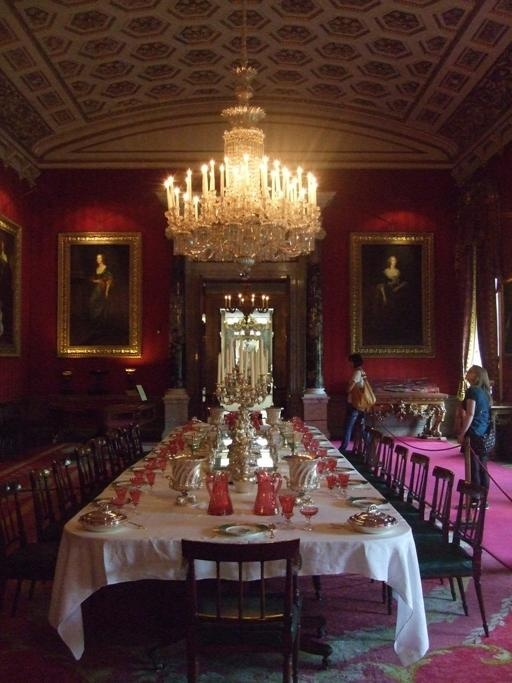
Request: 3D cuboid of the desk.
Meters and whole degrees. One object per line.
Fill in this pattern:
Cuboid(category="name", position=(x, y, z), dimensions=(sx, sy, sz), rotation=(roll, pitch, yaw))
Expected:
Cuboid(category="desk", position=(2.911, 1.393, 9.653), dimensions=(0.873, 0.779, 1.672), rotation=(17, -14, -34))

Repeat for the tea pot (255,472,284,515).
Cuboid(category="tea pot", position=(0.058, 0.697, 2.461), dimensions=(0.151, 0.188, 0.118), rotation=(-4, -9, 37))

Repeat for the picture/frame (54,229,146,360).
Cuboid(category="picture/frame", position=(-3.007, -0.893, 10.191), dimensions=(1.713, 2.260, 0.078), rotation=(-3, 6, -41))

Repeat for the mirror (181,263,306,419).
Cuboid(category="mirror", position=(-0.082, -0.142, 11.494), dimensions=(2.656, 3.878, 2.586), rotation=(1, 16, 15))

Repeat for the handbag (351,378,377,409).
Cuboid(category="handbag", position=(1.513, 0.769, 7.582), dimensions=(0.317, 0.440, 0.264), rotation=(0, -5, 5))

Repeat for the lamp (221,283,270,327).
Cuboid(category="lamp", position=(-0.261, -1.022, 14.606), dimensions=(1.281, 1.046, 1.109), rotation=(1, -4, -3))
